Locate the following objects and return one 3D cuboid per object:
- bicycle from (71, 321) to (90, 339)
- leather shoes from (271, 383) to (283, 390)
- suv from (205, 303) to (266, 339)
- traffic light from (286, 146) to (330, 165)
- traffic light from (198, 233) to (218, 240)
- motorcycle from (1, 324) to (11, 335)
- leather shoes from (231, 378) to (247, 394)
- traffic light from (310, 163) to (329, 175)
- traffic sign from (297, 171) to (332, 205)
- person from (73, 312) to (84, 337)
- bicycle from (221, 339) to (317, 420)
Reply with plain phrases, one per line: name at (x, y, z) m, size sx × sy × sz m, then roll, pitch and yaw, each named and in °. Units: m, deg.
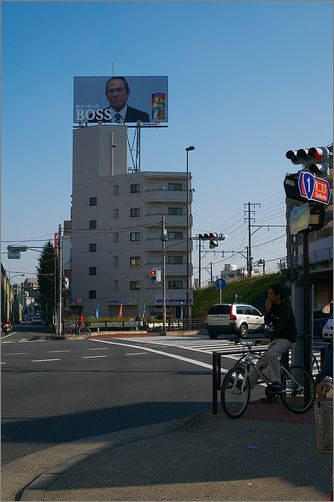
bicycle at (-4.985, 4.361, 41.146) m, size 1.593 × 1.035 × 0.810 m, roll -2°, pitch -4°, yaw 5°
leather shoes at (1.384, 1.713, 9.488) m, size 0.130 × 0.081 × 0.065 m, roll -1°, pitch 0°, yaw 4°
suv at (2.913, 2.802, 31.031) m, size 1.277 × 1.184 × 2.482 m, roll -2°, pitch -1°, yaw 38°
traffic light at (1.891, -1.249, 9.910) m, size 0.411 × 0.227 × 0.621 m, roll -1°, pitch -4°, yaw -22°
traffic light at (2.365, -0.788, 43.563) m, size 1.096 × 0.309 × 0.631 m, roll -3°, pitch -4°, yaw 5°
motorcycle at (-10.993, 5.266, 51.050) m, size 0.506 × 0.620 × 1.081 m, roll 2°, pitch -4°, yaw -12°
leather shoes at (0.856, 1.648, 9.252) m, size 0.144 × 0.219 × 0.076 m, roll -2°, pitch 3°, yaw 6°
traffic light at (2.002, -1.062, 9.908) m, size 0.252 × 0.186 × 0.201 m, roll -4°, pitch -4°, yaw 11°
traffic sign at (1.941, -0.842, 10.058) m, size 0.256 × 0.420 × 0.850 m, roll -5°, pitch -4°, yaw 27°
person at (-4.746, 3.889, 40.056) m, size 0.323 × 1.166 × 1.281 m, roll -2°, pitch -4°, yaw -10°
bicycle at (1.212, 1.652, 9.449) m, size 1.353 × 0.864 × 0.684 m, roll 8°, pitch -17°, yaw -31°
